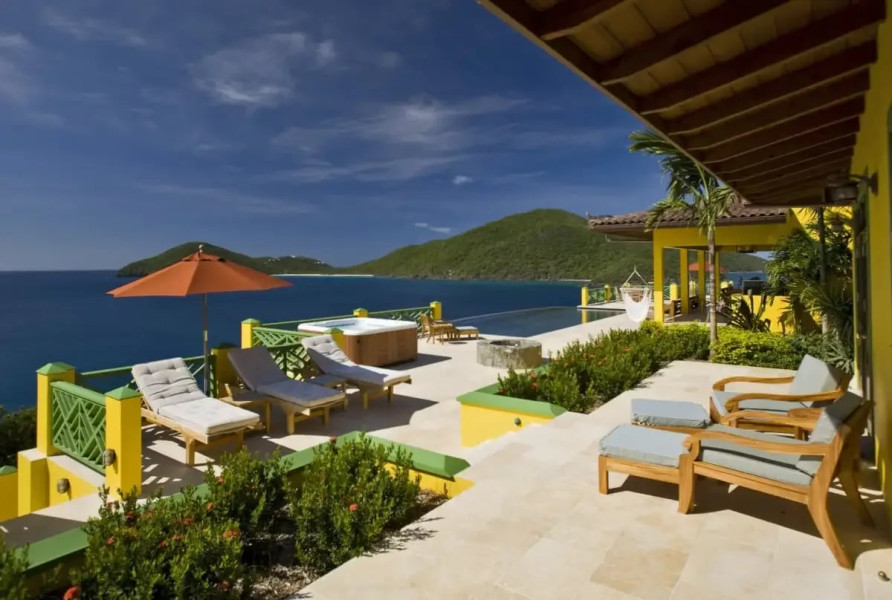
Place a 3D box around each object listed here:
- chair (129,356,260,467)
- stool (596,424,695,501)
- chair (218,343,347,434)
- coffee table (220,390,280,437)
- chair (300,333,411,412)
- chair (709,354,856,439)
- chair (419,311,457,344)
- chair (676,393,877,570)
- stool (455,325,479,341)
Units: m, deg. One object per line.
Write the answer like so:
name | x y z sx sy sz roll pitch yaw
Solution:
chair | -3.474 1.419 6.651 1.808 0.859 0.894 13 9 25
stool | 1.823 1.367 4.519 0.659 0.387 0.903 0 1 27
chair | -2.538 1.324 7.718 1.899 0.878 0.764 8 9 31
coffee table | -2.841 1.523 7.367 0.925 0.735 0.666 2 4 31
chair | -1.665 1.221 8.885 1.973 0.872 0.789 8 10 29
chair | 3.684 1.142 5.512 1.342 0.864 1.169 -5 2 6
chair | -0.201 0.835 15.020 0.917 0.840 1.425 -2 2 -9
chair | 2.865 1.371 4.308 1.004 0.955 1.243 2 -3 -43
stool | 0.683 0.991 15.422 0.678 0.493 1.382 3 10 5
